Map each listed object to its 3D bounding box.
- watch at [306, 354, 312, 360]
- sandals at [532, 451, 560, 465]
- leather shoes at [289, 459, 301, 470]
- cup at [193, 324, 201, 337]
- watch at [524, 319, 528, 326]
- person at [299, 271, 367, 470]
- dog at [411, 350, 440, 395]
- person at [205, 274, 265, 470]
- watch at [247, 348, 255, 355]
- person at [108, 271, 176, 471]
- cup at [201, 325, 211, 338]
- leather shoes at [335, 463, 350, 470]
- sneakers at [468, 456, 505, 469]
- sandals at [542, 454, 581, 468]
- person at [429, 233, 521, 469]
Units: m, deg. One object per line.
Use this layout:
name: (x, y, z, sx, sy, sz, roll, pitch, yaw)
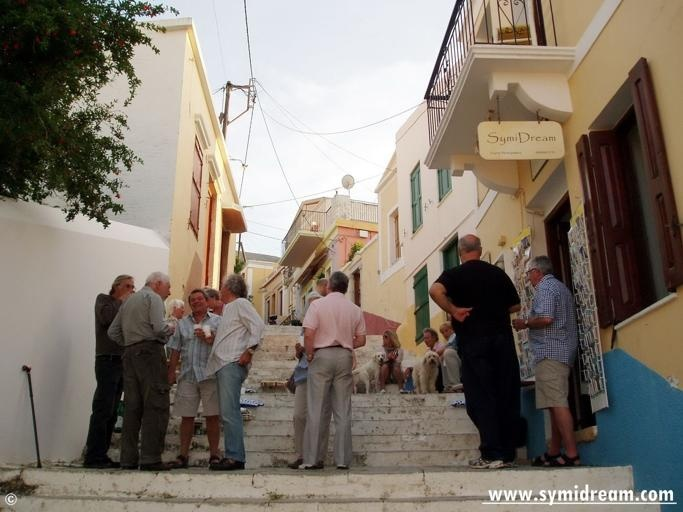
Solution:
watch: (-0.347, 1.095, 6.489, 0.035, 0.045, 0.066, 2, -28, -7)
sandals: (2.172, 2.164, 6.417, 0.098, 0.122, 0.301, 7, -15, -19)
leather shoes: (-0.504, 2.260, 6.507, 0.151, 0.074, 0.065, 7, -20, -15)
cup: (-1.641, 0.844, 6.812, 0.094, 0.125, 0.104, 1, -9, -10)
watch: (2.088, 0.756, 6.790, 0.063, 0.067, 0.045, -5, 15, 12)
person: (-0.091, 1.197, 6.540, 0.670, 2.141, 0.416, 1, -21, -2)
dog: (1.389, 1.960, 9.937, 0.297, 0.654, 0.877, 4, -20, -16)
person: (-1.155, 1.219, 6.699, 0.616, 2.226, 0.453, -5, -21, 13)
watch: (-0.991, 1.047, 6.557, 0.063, 0.020, 0.067, -11, -30, 7)
person: (-2.151, 1.184, 6.478, 0.738, 2.138, 0.363, -3, -21, 10)
cup: (-1.541, 0.854, 6.825, 0.101, 0.192, 0.112, -7, -16, -16)
leather shoes: (0.016, 2.155, 6.128, 0.124, 0.044, 0.123, 2, -23, -6)
sneakers: (1.427, 2.066, 5.947, 0.320, 0.158, 0.131, -1, -26, 20)
sandals: (2.295, 2.122, 6.222, 0.358, 0.154, 0.187, -1, -17, 23)
person: (1.493, 0.974, 6.384, 1.131, 2.450, 0.470, 10, -23, -23)
